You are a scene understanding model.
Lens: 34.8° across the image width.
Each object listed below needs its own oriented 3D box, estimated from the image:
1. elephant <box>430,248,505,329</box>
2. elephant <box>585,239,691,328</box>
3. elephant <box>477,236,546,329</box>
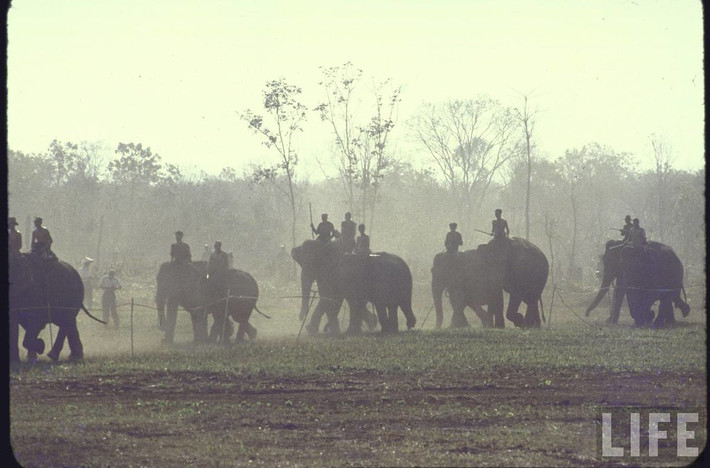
[{"bbox_3d":[4.846,2.097,43.666,3.939,2.706,1.916,2,-7,2],"label":"elephant"},{"bbox_3d":[10.368,1.966,44.678,5.026,3.487,2.283,2,-6,6],"label":"elephant"},{"bbox_3d":[5.604,1.872,43.188,3.623,3.358,2.381,0,-4,45],"label":"elephant"}]
